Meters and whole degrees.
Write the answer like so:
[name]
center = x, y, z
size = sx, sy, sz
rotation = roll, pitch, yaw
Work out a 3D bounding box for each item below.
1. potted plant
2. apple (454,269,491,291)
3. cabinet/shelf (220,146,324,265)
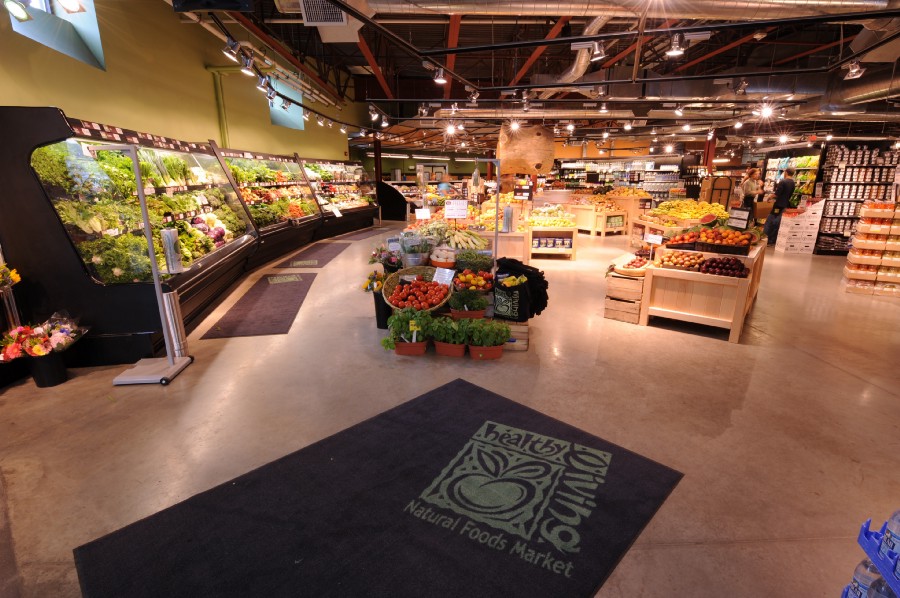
[potted plant]
center = -0.032, 0.386, 6.191
size = 1.454, 0.566, 0.301
rotation = 0, 20, 1
[apple]
center = 0.291, -0.235, 6.449
size = 0.488, 0.213, 0.378
rotation = 0, 18, 1
[cabinet/shelf]
center = -3.491, -1.778, 10.264
size = 0.837, 1.670, 3.104
rotation = -19, 9, 15
